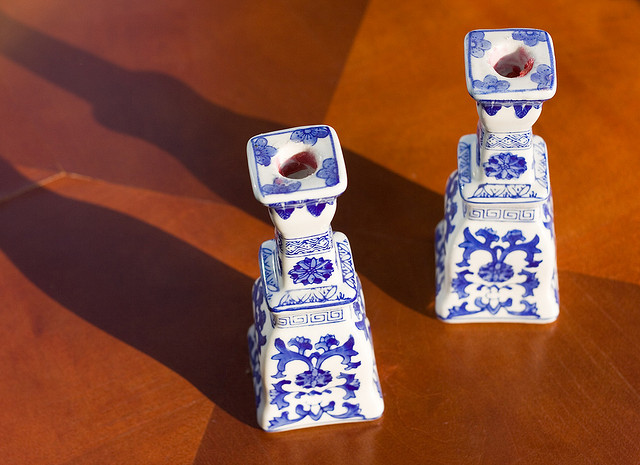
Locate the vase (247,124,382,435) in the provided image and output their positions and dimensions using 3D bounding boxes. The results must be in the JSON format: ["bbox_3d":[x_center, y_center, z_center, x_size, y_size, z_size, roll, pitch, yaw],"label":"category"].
[{"bbox_3d":[-0.042,0.109,1.375,0.254,0.605,0.203,-12,27,-4],"label":"vase"}]

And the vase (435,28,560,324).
[{"bbox_3d":[0.369,-0.093,1.498,0.258,0.620,0.184,0,28,17],"label":"vase"}]
